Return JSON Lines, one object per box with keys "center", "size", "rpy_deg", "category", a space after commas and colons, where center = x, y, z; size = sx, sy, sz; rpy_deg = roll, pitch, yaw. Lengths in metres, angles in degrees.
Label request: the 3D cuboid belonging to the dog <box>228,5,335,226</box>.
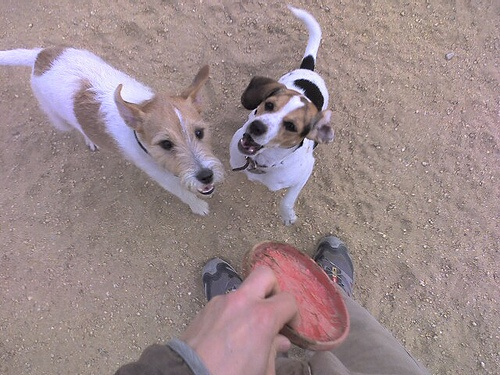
{"center": [0.461, -0.954, 7.544], "size": [1.319, 2.015, 2.868], "rpy_deg": [22, 82, 5], "category": "dog"}
